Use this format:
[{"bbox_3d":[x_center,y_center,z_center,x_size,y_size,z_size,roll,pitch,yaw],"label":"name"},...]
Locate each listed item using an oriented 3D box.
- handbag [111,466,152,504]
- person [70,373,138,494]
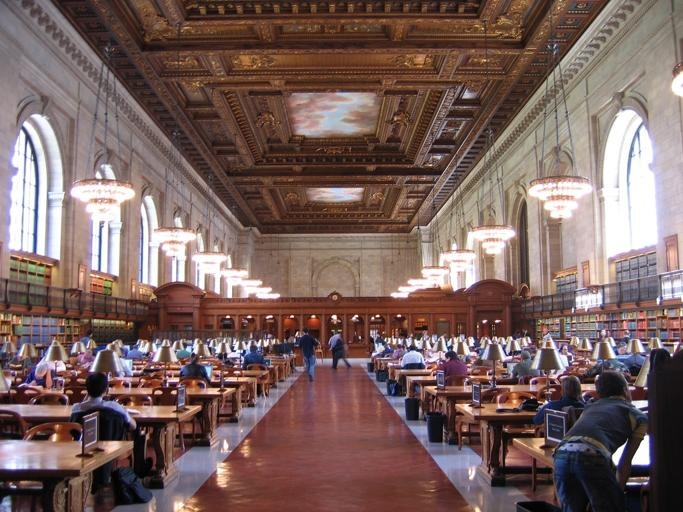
[{"bbox_3d":[-2.329,2.521,6.528,0.385,0.484,0.428,-9,-4,-7],"label":"handbag"},{"bbox_3d":[-2.613,1.927,6.289,0.666,1.318,0.844,2,-11,-25],"label":"person"}]
